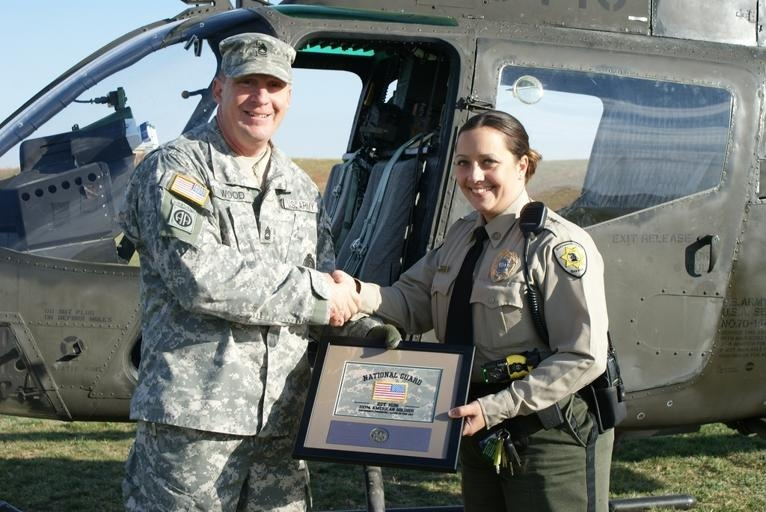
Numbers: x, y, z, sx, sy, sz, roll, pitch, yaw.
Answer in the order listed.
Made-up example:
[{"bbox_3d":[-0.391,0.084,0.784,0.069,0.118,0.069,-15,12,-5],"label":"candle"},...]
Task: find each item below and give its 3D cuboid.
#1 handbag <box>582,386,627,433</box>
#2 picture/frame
[{"bbox_3d":[1.065,0.739,3.902,0.123,0.205,0.219,-17,14,5],"label":"handbag"},{"bbox_3d":[0.006,0.697,3.843,0.790,0.661,0.063,7,-36,14],"label":"picture/frame"}]
